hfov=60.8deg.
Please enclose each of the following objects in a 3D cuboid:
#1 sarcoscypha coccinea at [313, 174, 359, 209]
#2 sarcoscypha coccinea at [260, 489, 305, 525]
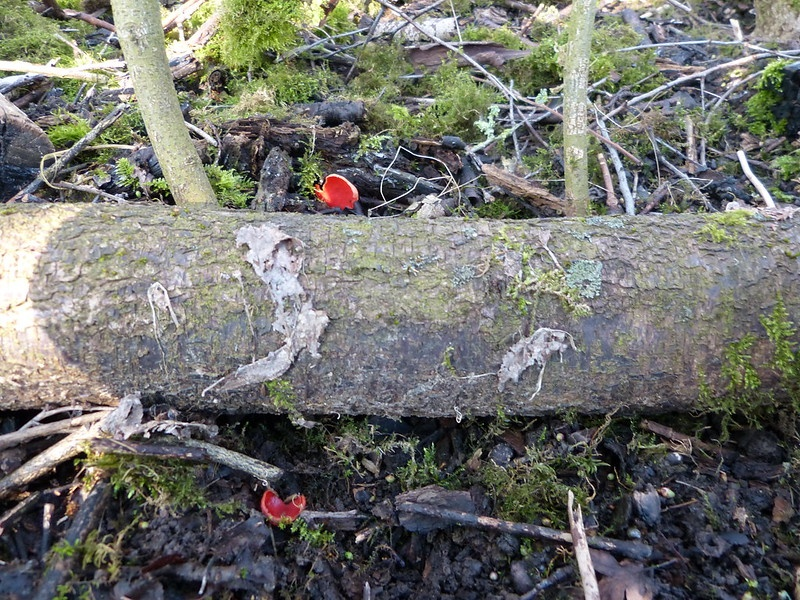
[{"bbox_3d":[-0.482,-0.853,5.254,0.362,0.215,0.088,39,21,10],"label":"sarcoscypha coccinea"},{"bbox_3d":[-0.725,1.285,4.195,0.240,0.203,0.185,-4,50,12],"label":"sarcoscypha coccinea"}]
